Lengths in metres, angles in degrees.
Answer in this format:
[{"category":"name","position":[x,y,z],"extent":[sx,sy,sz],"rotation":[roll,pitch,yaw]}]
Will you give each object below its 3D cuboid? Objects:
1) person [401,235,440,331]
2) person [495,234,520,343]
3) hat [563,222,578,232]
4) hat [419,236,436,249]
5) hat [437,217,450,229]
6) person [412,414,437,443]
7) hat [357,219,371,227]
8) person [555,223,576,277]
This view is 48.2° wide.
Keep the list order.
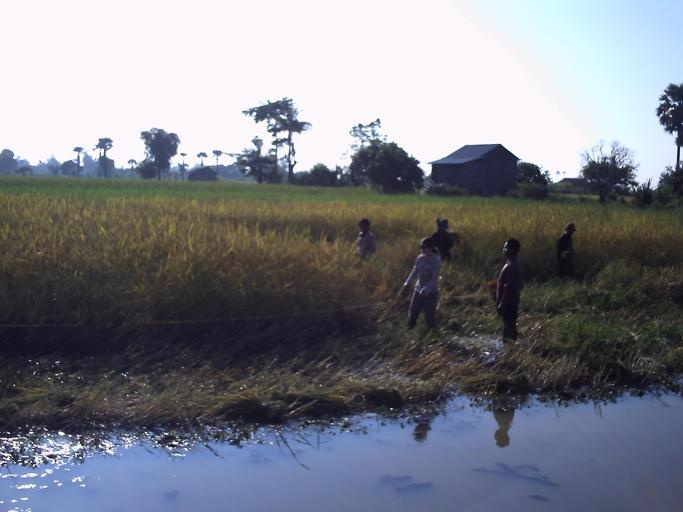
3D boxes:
[{"category":"person","position":[1.593,0.561,14.704],"extent":[0.523,1.812,0.681],"rotation":[-3,7,-44]},{"category":"person","position":[3.193,0.634,14.512],"extent":[0.429,1.950,1.414],"rotation":[3,5,13]},{"category":"hat","position":[5.331,-0.635,17.723],"extent":[0.313,0.287,0.492],"rotation":[1,1,1]},{"category":"hat","position":[1.630,-0.233,14.485],"extent":[0.197,0.291,0.267],"rotation":[14,22,30]},{"category":"hat","position":[2.398,-0.784,17.945],"extent":[0.254,0.193,0.367],"rotation":[17,-16,11]},{"category":"person","position":[1.287,2.733,12.024],"extent":[0.254,0.310,0.856],"rotation":[-17,5,15]},{"category":"hat","position":[0.497,-0.723,17.066],"extent":[0.156,0.225,0.209],"rotation":[22,18,26]},{"category":"person","position":[5.529,-0.076,18.746],"extent":[0.391,1.578,0.533],"rotation":[-1,33,14]}]
